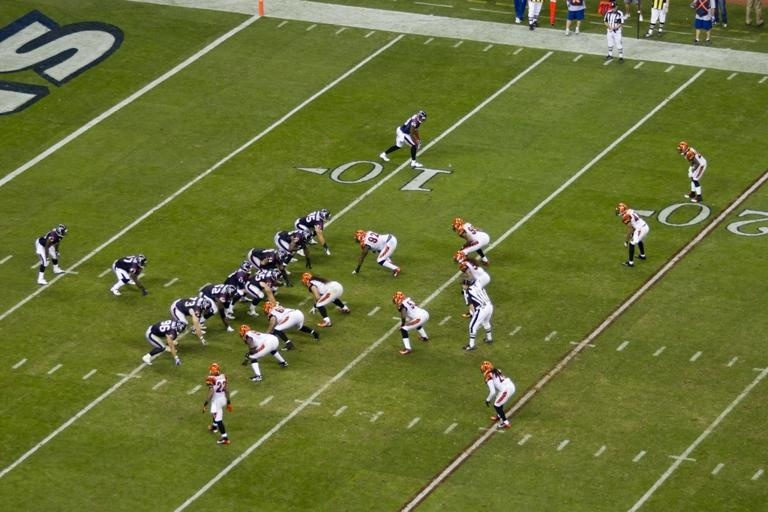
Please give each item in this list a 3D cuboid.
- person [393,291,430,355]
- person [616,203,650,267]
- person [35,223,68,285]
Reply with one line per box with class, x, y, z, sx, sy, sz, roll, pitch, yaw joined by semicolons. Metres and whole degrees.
person;0.804;1.877;46.819;0.915;1.770;1.284;-5;43;3
person;7.865;-0.726;49.966;1.105;1.903;0.949;6;0;5
person;-10.714;-0.184;50.237;1.239;1.625;1.254;9;16;20
